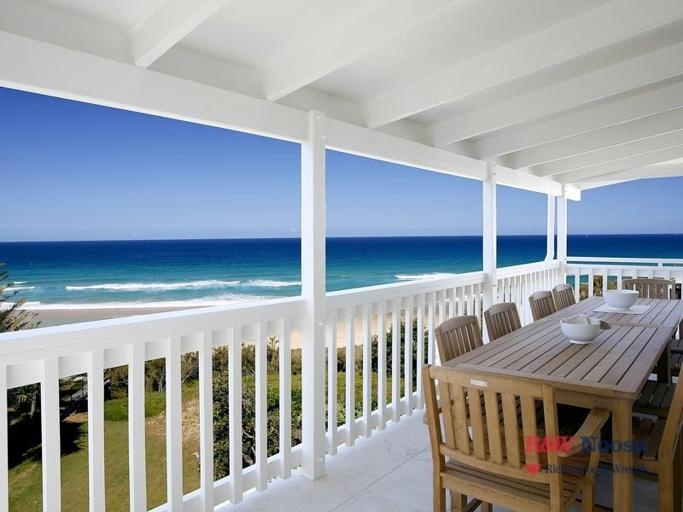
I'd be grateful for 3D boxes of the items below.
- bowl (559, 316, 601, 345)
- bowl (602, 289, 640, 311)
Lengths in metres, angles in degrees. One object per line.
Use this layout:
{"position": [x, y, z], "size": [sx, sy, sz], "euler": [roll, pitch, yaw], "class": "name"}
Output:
{"position": [1.494, 0.441, 2.969], "size": [0.201, 0.134, 0.224], "euler": [2, -3, -33], "class": "bowl"}
{"position": [2.324, 0.353, 3.863], "size": [0.194, 0.115, 0.198], "euler": [-1, 0, 0], "class": "bowl"}
